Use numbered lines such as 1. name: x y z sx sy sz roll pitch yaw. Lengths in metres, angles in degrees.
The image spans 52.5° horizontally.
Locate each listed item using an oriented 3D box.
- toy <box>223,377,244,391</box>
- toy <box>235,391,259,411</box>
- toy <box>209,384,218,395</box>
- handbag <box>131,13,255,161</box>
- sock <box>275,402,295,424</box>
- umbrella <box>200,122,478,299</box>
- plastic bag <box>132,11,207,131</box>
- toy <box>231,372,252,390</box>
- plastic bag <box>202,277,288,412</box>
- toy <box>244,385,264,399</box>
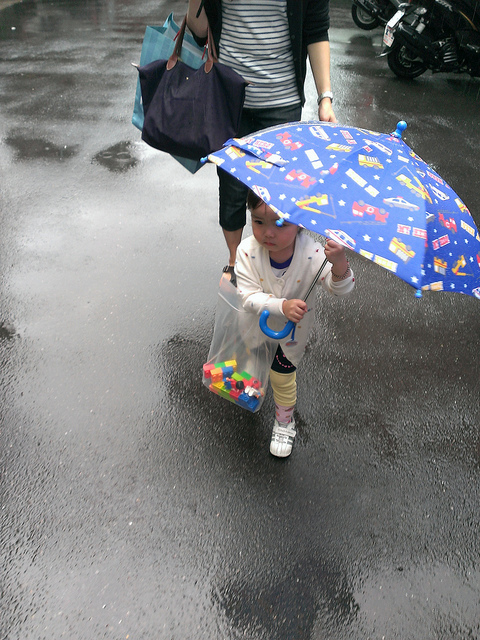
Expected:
1. toy: -0.029 0.288 2.193 0.077 0.045 0.040 11 73 52
2. toy: 0.033 0.369 2.194 0.087 0.062 0.091 21 13 2
3. toy: -0.121 0.326 2.237 0.011 0.041 0.044 -51 16 -9
4. handbag: -0.240 -1.033 2.232 0.495 0.551 0.285 28 47 33
5. sock: 0.192 0.422 2.168 0.084 0.094 0.090 -4 45 -3
6. umbrella: 0.319 -0.338 1.402 0.600 0.252 0.809 -23 43 -24
7. plastic bag: -0.286 -1.254 2.517 0.206 0.576 0.395 46 43 16
8. toy: -0.003 0.280 2.197 0.111 0.024 0.043 38 73 23
9. plastic bag: 0.030 0.132 2.057 0.418 0.528 0.141 38 41 23
10. toy: 0.057 0.319 2.143 0.047 0.025 0.070 20 -2 15
